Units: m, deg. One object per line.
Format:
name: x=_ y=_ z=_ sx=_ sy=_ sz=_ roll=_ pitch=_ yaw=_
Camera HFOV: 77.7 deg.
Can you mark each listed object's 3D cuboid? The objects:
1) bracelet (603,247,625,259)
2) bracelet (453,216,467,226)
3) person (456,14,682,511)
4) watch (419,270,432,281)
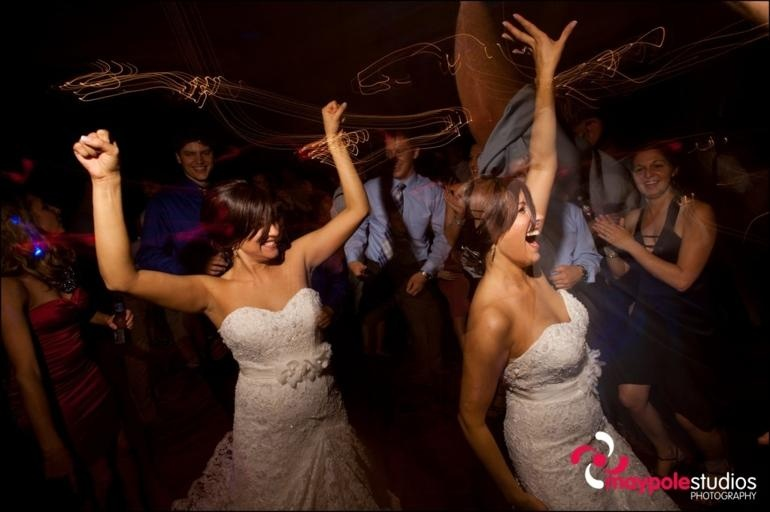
bracelet: x=2.235 y=-0.016 z=4.696 sx=0.134 sy=0.103 sz=0.049 roll=8 pitch=28 yaw=27
bracelet: x=0.770 y=-0.352 z=4.889 sx=0.171 sy=0.045 sz=0.167 roll=-13 pitch=-7 yaw=35
person: x=1.196 y=0.662 z=3.623 sx=1.341 sy=2.570 sz=0.609 roll=-5 pitch=8 yaw=7
watch: x=0.460 y=0.222 z=5.375 sx=0.112 sy=0.083 sz=0.116 roll=21 pitch=11 yaw=1
